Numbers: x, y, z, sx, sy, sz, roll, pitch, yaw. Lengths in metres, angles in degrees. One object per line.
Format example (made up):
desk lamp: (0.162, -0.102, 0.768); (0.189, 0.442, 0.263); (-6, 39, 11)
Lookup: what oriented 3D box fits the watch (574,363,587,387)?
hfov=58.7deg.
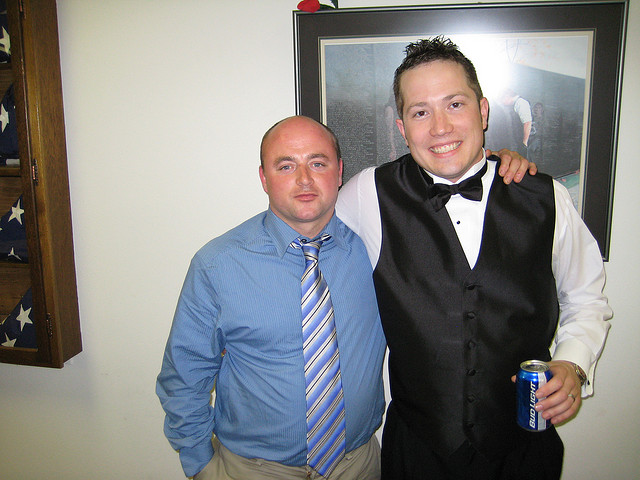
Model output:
watch: (0.995, 0.521, 2.186); (0.051, 0.032, 0.061); (36, 22, -38)

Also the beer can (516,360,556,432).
beer can: (0.804, 0.593, 2.143); (0.128, 0.240, 0.133); (-2, 8, 0)

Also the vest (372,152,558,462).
vest: (0.589, 0.264, 2.321); (0.748, 1.187, 0.346); (1, 5, 5)

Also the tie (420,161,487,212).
tie: (0.599, -0.220, 2.365); (0.255, 0.131, 0.311); (-3, 14, 40)
